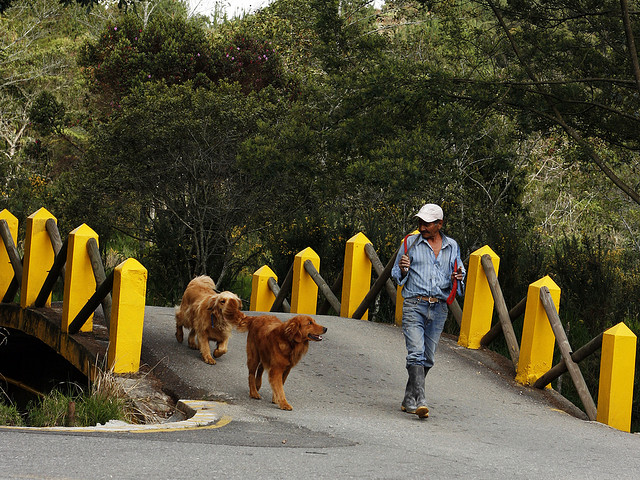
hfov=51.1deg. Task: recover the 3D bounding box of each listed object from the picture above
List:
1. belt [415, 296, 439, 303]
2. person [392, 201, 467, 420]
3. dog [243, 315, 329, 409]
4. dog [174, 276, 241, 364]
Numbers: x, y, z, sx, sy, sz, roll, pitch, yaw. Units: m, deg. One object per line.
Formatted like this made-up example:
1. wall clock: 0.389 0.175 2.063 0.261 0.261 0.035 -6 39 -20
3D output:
1. belt: 1.255 0.685 7.664 0.196 0.058 0.025 4 6 -14
2. person: 1.208 0.788 7.823 0.738 2.402 0.705 -1 8 -40
3. dog: -0.455 1.294 7.458 1.047 1.046 0.399 11 9 44
4. dog: -1.437 1.016 8.788 0.464 1.037 1.569 3 2 -26
